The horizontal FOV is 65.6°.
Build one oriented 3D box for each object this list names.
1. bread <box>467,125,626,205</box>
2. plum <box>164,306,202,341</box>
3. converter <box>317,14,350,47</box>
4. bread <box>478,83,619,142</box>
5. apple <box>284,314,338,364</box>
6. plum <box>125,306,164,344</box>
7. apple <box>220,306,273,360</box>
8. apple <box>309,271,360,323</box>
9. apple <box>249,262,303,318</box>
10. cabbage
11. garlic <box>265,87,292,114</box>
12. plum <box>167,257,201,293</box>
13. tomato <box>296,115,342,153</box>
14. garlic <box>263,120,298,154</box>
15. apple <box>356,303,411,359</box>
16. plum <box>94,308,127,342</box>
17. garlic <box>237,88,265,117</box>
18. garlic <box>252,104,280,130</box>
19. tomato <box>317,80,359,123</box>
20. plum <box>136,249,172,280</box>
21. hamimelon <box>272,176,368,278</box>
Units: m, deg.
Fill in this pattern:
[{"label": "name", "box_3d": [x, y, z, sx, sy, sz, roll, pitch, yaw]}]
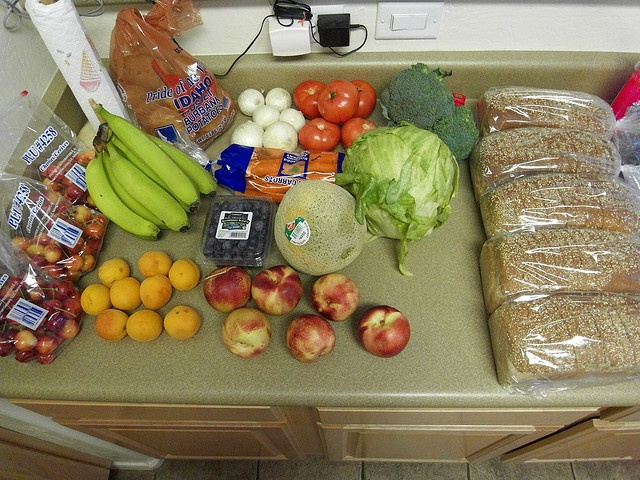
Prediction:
[{"label": "bread", "box_3d": [0.595, -0.201, 1.344, 0.338, 0.122, 0.183, -3, 74, 4]}, {"label": "plum", "box_3d": [-0.324, 0.195, 1.169, 0.082, 0.064, 0.078, 12, 63, 1]}, {"label": "converter", "box_3d": [0.037, -0.575, 1.356, 0.115, 0.081, 0.063, 3, 48, 3]}, {"label": "bread", "box_3d": [0.631, -0.344, 1.394, 0.309, 0.100, 0.160, 4, 67, 7]}, {"label": "apple", "box_3d": [-0.031, 0.222, 1.208, 0.137, 0.106, 0.111, -24, 42, -36]}, {"label": "plum", "box_3d": [-0.412, 0.201, 1.169, 0.081, 0.064, 0.064, 12, 92, 6]}, {"label": "apple", "box_3d": [-0.171, 0.210, 1.194, 0.111, 0.108, 0.112, 6, 15, 0]}, {"label": "apple", "box_3d": [0.037, 0.133, 1.226, 0.106, 0.112, 0.112, -23, 95, 11]}, {"label": "apple", "box_3d": [-0.108, 0.122, 1.226, 0.116, 0.115, 0.111, -4, 66, -1]}, {"label": "cabbage", "box_3d": [0.157, -0.123, 1.343, 0.322, 0.356, 0.414, 5, 43, 1]}, {"label": "garlic", "box_3d": [-0.119, -0.415, 1.501, 0.073, 0.071, 0.070, 21, 39, 29]}, {"label": "plum", "box_3d": [-0.333, 0.084, 1.220, 0.079, 0.078, 0.074, 2, 28, -10]}, {"label": "tomato", "box_3d": [0.000, -0.292, 1.387, 0.105, 0.078, 0.096, 2, 81, 1]}, {"label": "garlic", "box_3d": [-0.106, -0.290, 1.436, 0.089, 0.088, 0.083, 8, 64, 17]}, {"label": "apple", "box_3d": [0.146, 0.209, 1.136, 0.111, 0.064, 0.116, -12, 54, 5]}, {"label": "plum", "box_3d": [-0.492, 0.201, 1.188, 0.079, 0.048, 0.069, 5, 60, 4]}, {"label": "garlic", "box_3d": [-0.206, -0.397, 1.497, 0.082, 0.044, 0.077, -35, 80, -14]}, {"label": "garlic", "box_3d": [-0.155, -0.356, 1.478, 0.068, 0.067, 0.072, -20, 79, -49]}, {"label": "tomato", "box_3d": [0.054, -0.391, 1.412, 0.120, 0.101, 0.105, -7, 59, -2]}, {"label": "plum", "box_3d": [-0.409, 0.060, 1.240, 0.076, 0.071, 0.065, -2, 68, -6]}, {"label": "hamimelon", "box_3d": [-0.008, -0.023, 1.248, 0.207, 0.169, 0.219, 40, 67, 5]}]
